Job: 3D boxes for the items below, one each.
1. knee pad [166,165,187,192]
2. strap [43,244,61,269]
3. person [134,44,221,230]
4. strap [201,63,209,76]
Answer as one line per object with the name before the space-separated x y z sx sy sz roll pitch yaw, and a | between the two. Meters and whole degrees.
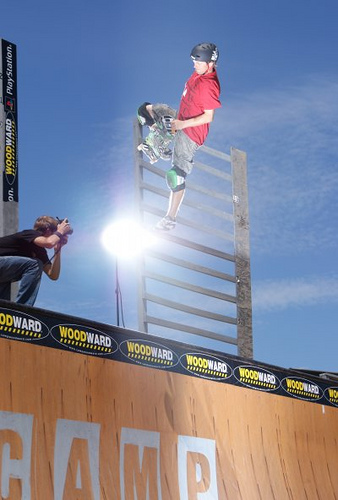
knee pad | 0.102 -0.950 13.735 0.377 0.366 0.182 13 -20 -35
strap | -1.226 0.075 10.466 0.044 0.297 0.047 20 -17 35
person | 0.111 -1.530 13.819 0.933 2.640 0.897 9 17 -33
strap | 0.475 -2.380 13.436 0.031 0.133 0.129 11 -2 -20
